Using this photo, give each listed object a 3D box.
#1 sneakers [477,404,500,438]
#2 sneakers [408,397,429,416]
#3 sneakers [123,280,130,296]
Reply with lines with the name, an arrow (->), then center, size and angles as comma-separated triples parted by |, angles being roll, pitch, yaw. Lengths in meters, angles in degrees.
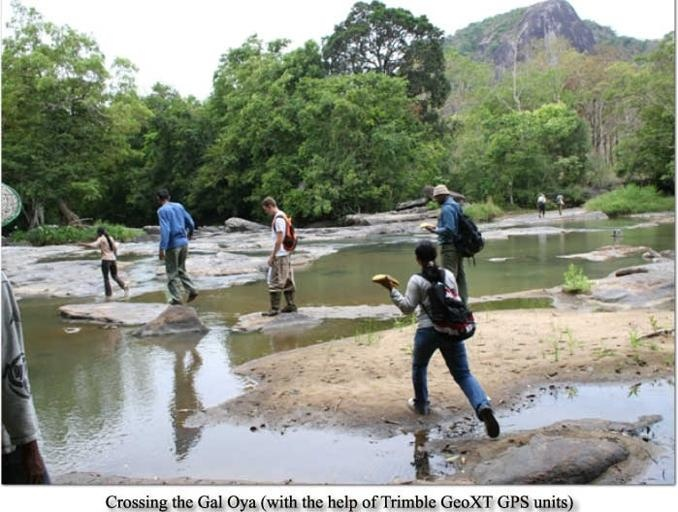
sneakers -> 1.763, 1.932, 7.187 | 0.275, 0.392, 0.191 | -3, 12, 2
sneakers -> 1.004, 1.910, 7.814 | 0.116, 0.137, 0.321 | -1, 14, -14
sneakers -> -5.743, 0.875, 16.501 | 0.099, 0.291, 0.128 | -14, 36, -38
